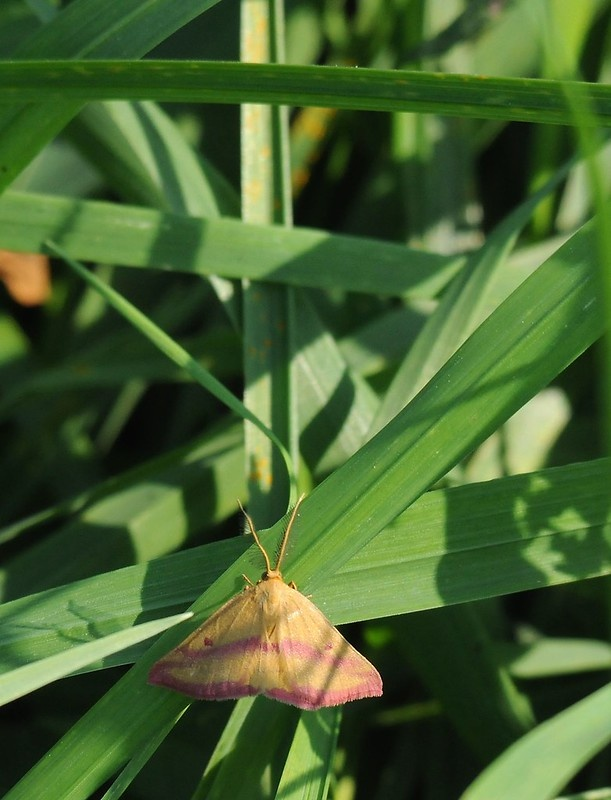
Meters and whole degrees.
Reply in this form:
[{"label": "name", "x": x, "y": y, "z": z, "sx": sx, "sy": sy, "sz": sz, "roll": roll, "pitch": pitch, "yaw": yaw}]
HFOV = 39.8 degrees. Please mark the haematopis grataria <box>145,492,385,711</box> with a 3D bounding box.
[{"label": "haematopis grataria", "x": -0.031, "y": 0.155, "z": 0.579, "sx": 0.123, "sy": 0.097, "sz": 0.108, "roll": -25, "pitch": -60, "yaw": 16}]
